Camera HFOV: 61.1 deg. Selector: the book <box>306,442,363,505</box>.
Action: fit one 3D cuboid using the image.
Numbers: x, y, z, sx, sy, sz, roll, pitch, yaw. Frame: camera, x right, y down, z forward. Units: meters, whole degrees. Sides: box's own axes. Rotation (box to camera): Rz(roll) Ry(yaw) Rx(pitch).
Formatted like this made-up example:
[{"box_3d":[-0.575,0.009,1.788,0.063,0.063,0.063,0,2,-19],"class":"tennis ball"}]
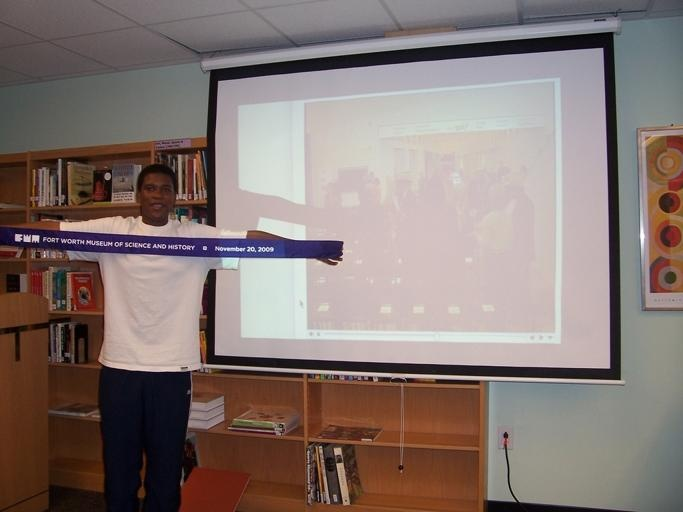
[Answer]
[{"box_3d":[-0.078,1.494,3.942,0.369,0.395,0.112,3,10,30],"class":"book"}]
